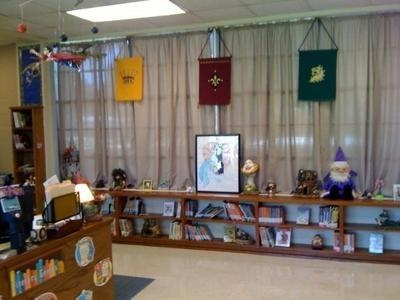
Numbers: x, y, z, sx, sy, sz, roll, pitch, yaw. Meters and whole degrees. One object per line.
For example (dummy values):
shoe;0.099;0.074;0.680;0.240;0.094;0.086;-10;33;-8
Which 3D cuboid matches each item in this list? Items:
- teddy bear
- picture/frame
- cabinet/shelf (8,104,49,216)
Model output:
teddy bear;2.068;0.346;4.931;0.472;0.773;0.387;1;13;20
picture/frame;0.329;0.223;5.391;0.885;1.198;0.075;-1;-3;14
cabinet/shelf;-3.083;0.168;6.114;0.552;1.931;0.385;0;7;20
